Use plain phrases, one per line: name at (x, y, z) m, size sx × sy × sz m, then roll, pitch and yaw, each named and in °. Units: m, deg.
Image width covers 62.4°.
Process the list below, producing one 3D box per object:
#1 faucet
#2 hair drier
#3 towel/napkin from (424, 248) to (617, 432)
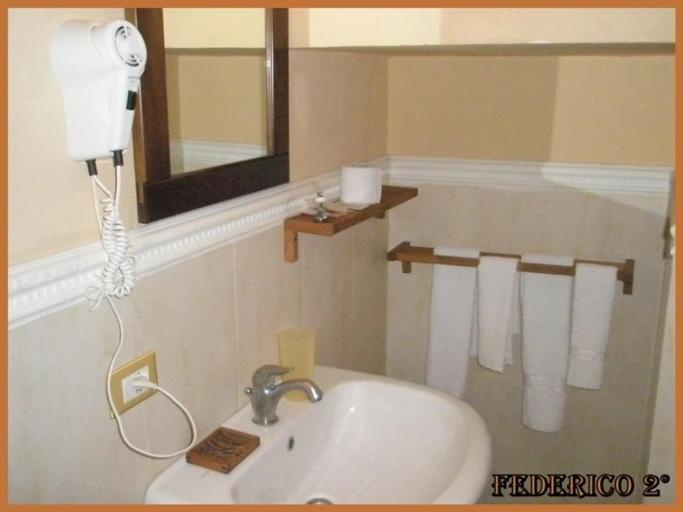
faucet at (-0.154, 0.314, 1.360) m, size 0.257 × 0.158 × 0.089 m, roll 3°, pitch 7°, yaw 24°
hair drier at (-0.390, -0.269, 0.924) m, size 0.129 × 0.222 × 0.115 m, roll -2°, pitch 3°, yaw 7°
towel/napkin at (0.627, 0.266, 1.928) m, size 0.629 × 0.603 × 0.087 m, roll 7°, pitch 13°, yaw 24°
